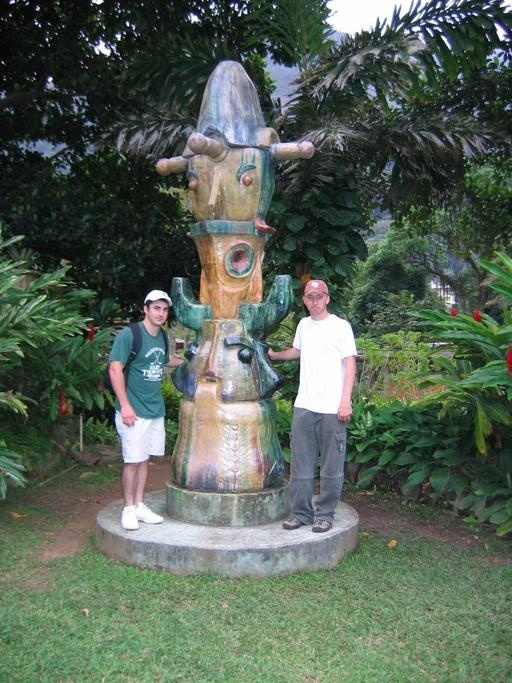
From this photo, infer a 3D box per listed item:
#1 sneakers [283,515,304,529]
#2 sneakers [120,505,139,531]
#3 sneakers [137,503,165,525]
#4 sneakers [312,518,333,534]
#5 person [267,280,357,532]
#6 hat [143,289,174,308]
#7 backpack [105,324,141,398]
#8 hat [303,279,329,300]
[{"bbox_3d":[0.227,1.144,3.554,0.058,0.052,0.138,-7,-17,32],"label":"sneakers"},{"bbox_3d":[-0.791,1.096,3.530,0.109,0.146,0.210,3,0,-12],"label":"sneakers"},{"bbox_3d":[-0.694,1.126,3.667,0.225,0.091,0.080,4,0,29],"label":"sneakers"},{"bbox_3d":[0.408,1.135,3.476,0.101,0.079,0.198,3,-1,23],"label":"sneakers"},{"bbox_3d":[0.397,0.411,3.602,0.405,1.578,0.559,3,0,0],"label":"person"},{"bbox_3d":[-0.621,-0.284,3.535,0.122,0.081,0.161,4,-8,-20],"label":"hat"},{"bbox_3d":[-0.826,0.096,3.492,0.206,0.420,0.232,3,0,-14],"label":"backpack"},{"bbox_3d":[0.376,-0.338,3.541,0.142,0.112,0.203,3,-1,4],"label":"hat"}]
